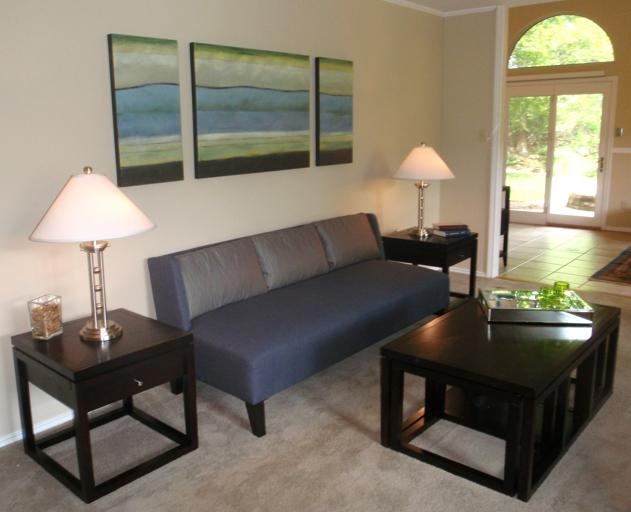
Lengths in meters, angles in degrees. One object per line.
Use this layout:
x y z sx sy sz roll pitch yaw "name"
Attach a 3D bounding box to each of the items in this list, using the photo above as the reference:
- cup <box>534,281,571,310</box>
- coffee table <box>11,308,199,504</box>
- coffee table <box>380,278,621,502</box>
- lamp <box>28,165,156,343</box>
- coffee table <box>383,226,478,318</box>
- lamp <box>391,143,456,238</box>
1.299 0.224 2.795 0.155 0.108 0.163 -3 13 1 "cup"
-1.025 0.665 2.499 0.695 0.641 0.600 8 16 38 "coffee table"
1.009 0.631 2.725 1.194 0.520 0.798 -15 16 -43 "coffee table"
-1.004 -0.005 2.355 0.400 0.793 0.361 3 15 22 "lamp"
0.992 0.065 4.513 0.661 0.744 0.699 8 15 36 "coffee table"
0.931 -0.551 4.481 0.550 0.796 0.559 0 10 2 "lamp"
